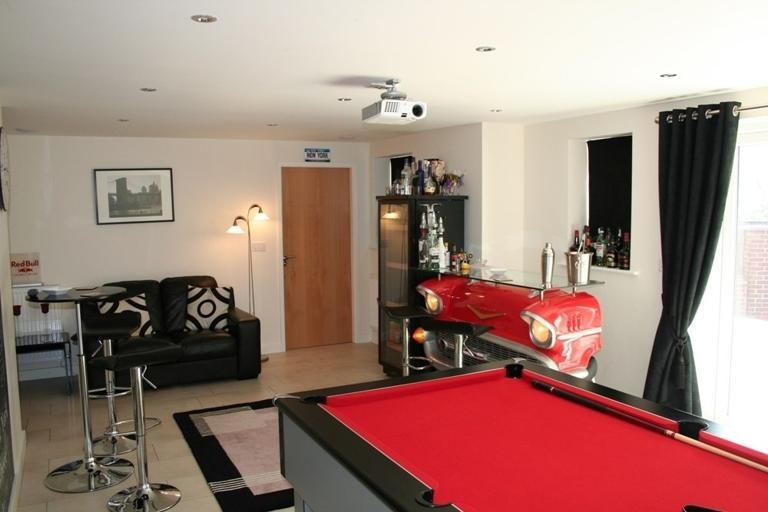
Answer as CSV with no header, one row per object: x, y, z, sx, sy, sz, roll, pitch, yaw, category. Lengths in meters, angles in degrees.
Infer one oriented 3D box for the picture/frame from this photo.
-3.175,-0.767,6.811,0.777,0.569,0.029,-3,7,-20,picture/frame

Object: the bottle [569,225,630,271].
2.186,-0.069,5.469,0.130,0.394,0.466,-5,7,-42,bottle

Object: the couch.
-2.518,0.897,6.415,1.781,1.109,0.997,-2,11,-40,couch

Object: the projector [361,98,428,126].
0.063,-1.125,4.236,0.375,0.171,0.364,-6,11,-30,projector

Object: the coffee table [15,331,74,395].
-4.151,1.211,6.392,0.786,0.629,0.299,-5,8,-32,coffee table

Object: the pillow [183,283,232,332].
-2.162,0.654,6.647,0.558,0.548,0.203,3,-20,-22,pillow

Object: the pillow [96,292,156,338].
-2.471,0.570,5.202,0.152,0.457,0.523,-32,-16,38,pillow
